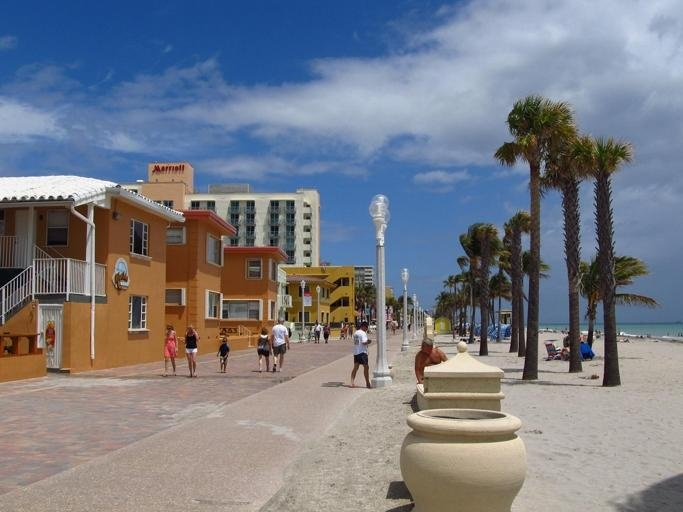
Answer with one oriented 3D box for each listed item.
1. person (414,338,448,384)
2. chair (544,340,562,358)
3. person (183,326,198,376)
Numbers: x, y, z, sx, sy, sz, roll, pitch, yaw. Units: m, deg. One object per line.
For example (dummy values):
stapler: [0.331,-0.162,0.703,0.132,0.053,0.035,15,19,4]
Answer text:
person: [1.942,2.365,14.789,0.607,1.021,2.912,-2,-7,6]
chair: [10.071,4.556,31.568,0.653,0.739,1.220,-3,-7,12]
person: [-5.208,3.285,22.828,0.323,1.692,1.466,0,-6,-13]
